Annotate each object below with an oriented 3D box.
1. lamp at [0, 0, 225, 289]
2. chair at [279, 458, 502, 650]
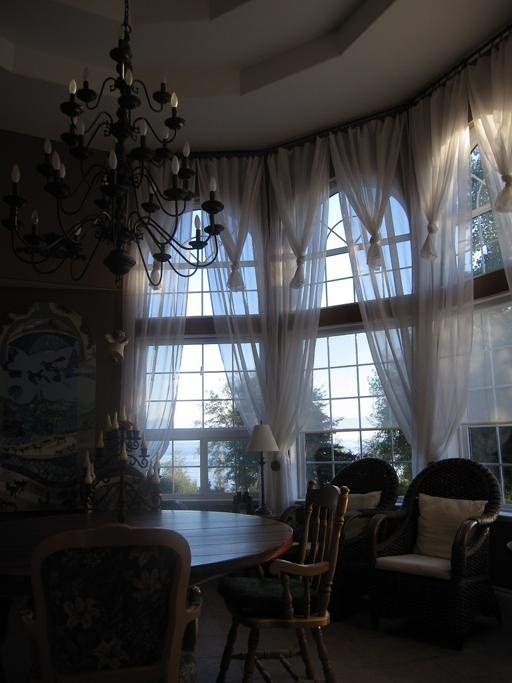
[{"bbox_3d":[-1.055,-1.416,4.193,1.322,2.324,1.381,6,-11,-40],"label":"lamp"},{"bbox_3d":[0.863,1.285,3.665,0.765,1.391,0.874,-19,-37,40],"label":"chair"}]
